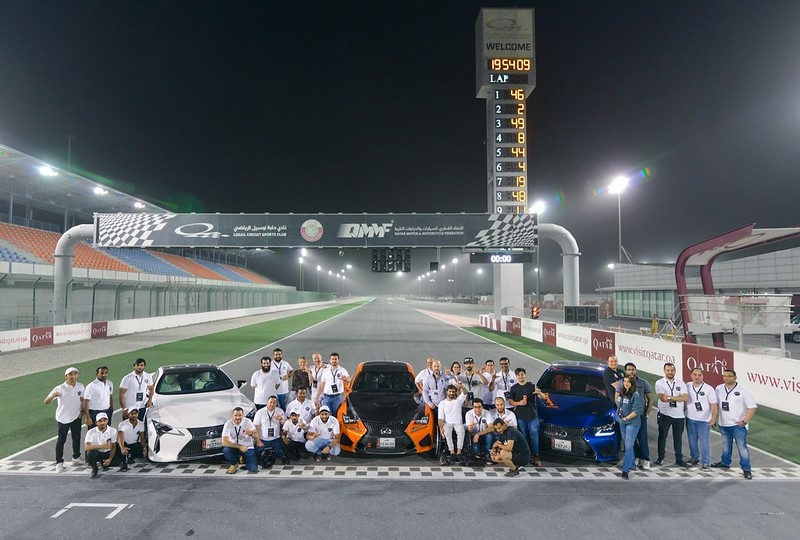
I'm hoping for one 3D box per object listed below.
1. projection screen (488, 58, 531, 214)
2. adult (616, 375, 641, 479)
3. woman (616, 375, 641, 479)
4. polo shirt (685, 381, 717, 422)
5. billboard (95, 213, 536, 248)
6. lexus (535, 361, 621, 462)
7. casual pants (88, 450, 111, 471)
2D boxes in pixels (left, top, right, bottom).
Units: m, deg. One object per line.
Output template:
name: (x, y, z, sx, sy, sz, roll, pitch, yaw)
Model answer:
projection screen: (9.709, -12.322, 45.580, 3.254, 14.168, 4.746, 1, 6, 14)
adult: (5.778, 3.919, 12.935, 0.577, 2.423, 0.829, 1, 6, 16)
woman: (5.785, 3.919, 12.933, 0.590, 2.423, 0.829, 1, 6, 16)
polo shirt: (7.670, 3.394, 13.116, 0.943, 1.073, 0.543, 2, 4, 42)
billboard: (-4.797, -2.199, 28.721, 25.259, 1.732, 2.332, -1, 29, 1)
lexus: (4.812, 3.875, 13.913, 2.007, 2.213, 2.049, 1, 5, 15)
casual pants: (-7.537, 4.740, 12.814, 0.376, 0.601, 0.374, 1, 6, 17)
